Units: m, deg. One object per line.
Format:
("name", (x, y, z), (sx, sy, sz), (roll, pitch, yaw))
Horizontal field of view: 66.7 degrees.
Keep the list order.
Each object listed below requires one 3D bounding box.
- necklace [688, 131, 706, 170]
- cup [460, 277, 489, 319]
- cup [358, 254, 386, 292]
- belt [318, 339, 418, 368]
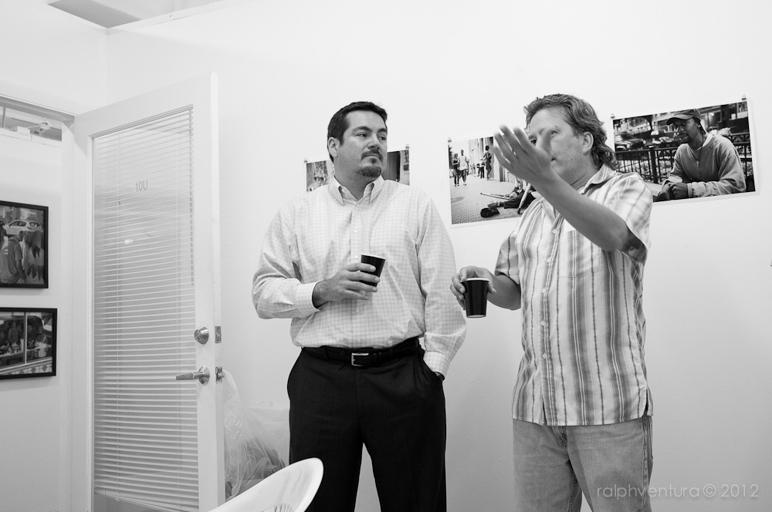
("necklace", (1.602, -0.559, 3.019), (0.077, 0.152, 0.108), (-10, 11, 0))
("cup", (0.366, 0.175, 2.564), (0.148, 0.143, 0.146), (1, -4, 0))
("cup", (-0.039, 0.065, 2.686), (0.129, 0.142, 0.135), (4, -5, 0))
("belt", (-0.088, 0.468, 2.791), (0.520, 0.119, 0.112), (-4, 0, -7))
